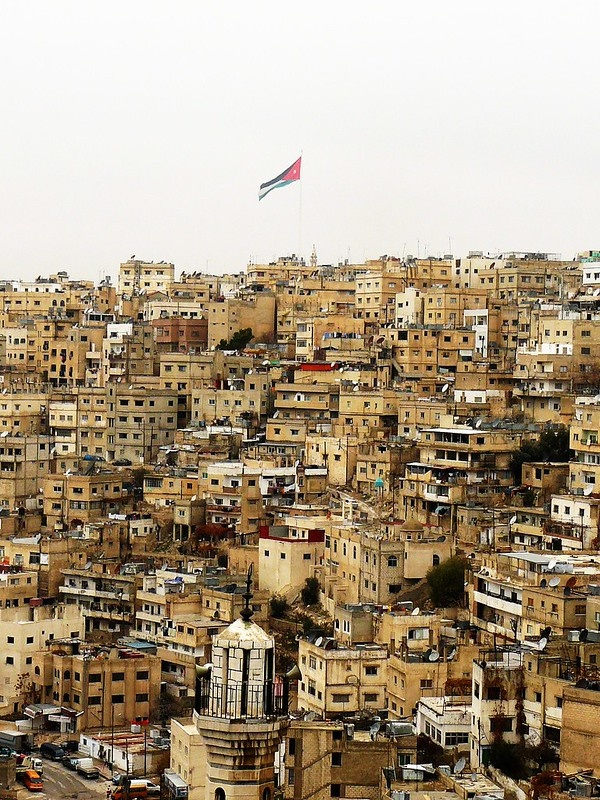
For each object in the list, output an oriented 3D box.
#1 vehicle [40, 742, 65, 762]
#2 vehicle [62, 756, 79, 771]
[{"bbox_3d":[-5.744,8.166,47.742,0.281,0.356,0.579,0,15,-39],"label":"vehicle"},{"bbox_3d":[-5.215,8.250,46.717,0.170,0.194,0.334,1,8,-20],"label":"vehicle"}]
